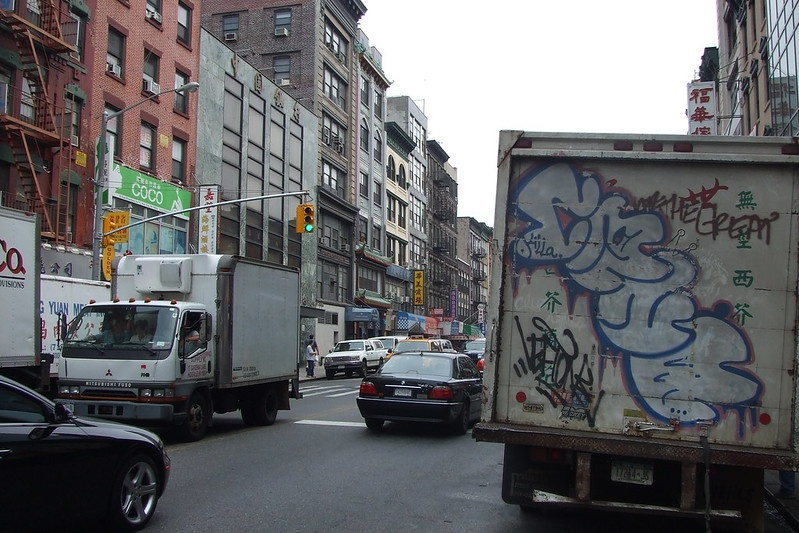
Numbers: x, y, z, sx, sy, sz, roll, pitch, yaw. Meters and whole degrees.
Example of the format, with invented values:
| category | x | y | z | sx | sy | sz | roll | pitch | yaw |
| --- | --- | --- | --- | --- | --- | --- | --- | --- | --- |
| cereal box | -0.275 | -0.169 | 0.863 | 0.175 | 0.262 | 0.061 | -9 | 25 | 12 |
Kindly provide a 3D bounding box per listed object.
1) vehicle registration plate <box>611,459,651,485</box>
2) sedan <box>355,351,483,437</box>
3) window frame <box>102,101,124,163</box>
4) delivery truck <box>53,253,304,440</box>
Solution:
| category | x | y | z | sx | sy | sz | roll | pitch | yaw |
| --- | --- | --- | --- | --- | --- | --- | --- | --- | --- |
| vehicle registration plate | 2.782 | 2.462 | 8.599 | 0.475 | 0.247 | 0.073 | 3 | -4 | 8 |
| sedan | 0.502 | 2.895 | 16.432 | 2.907 | 1.861 | 2.045 | 4 | -4 | -13 |
| window frame | -12.130 | -5.603 | 30.437 | 0.218 | 2.205 | 1.816 | 15 | 6 | -22 |
| delivery truck | -4.804 | 1.662 | 16.478 | 2.720 | 3.525 | 5.418 | -3 | -10 | 21 |
